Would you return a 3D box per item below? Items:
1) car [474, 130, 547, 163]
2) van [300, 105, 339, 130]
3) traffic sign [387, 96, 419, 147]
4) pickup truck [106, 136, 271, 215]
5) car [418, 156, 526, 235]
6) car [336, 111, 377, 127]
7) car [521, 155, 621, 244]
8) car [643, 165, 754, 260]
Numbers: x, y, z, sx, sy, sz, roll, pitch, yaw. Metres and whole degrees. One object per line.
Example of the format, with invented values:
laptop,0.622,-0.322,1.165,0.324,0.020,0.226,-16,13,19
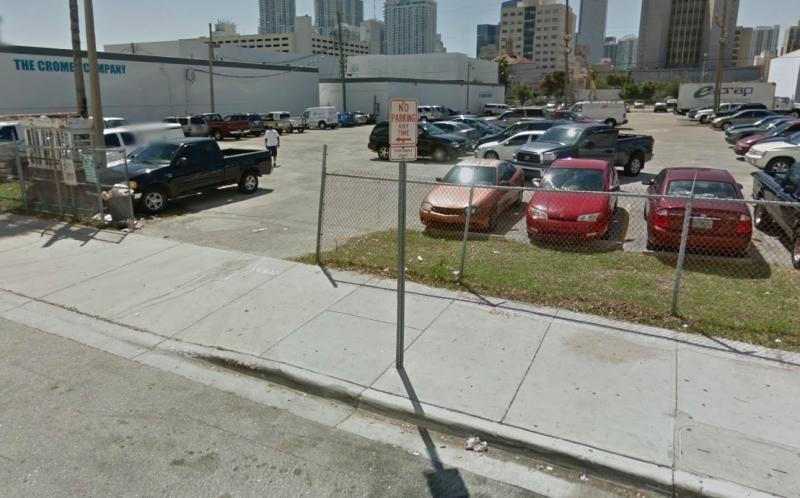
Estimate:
car,4.881,-4.641,23.893,3.691,1.090,1.575,3,22,12
van,-7.736,-12.343,49.069,3.289,1.480,2.142,10,30,13
traffic sign,0.047,-1.849,7.633,0.455,0.683,0.240,-7,22,-12
pickup truck,-6.931,-2.510,17.184,2.382,1.531,4.749,17,23,30
car,2.217,-1.795,15.052,2.042,1.309,4.470,9,25,26
car,-4.557,-13.337,53.503,2.437,0.867,3.548,16,28,34
car,4.834,-1.718,14.113,2.029,1.514,4.499,10,30,24
car,6.891,-0.752,11.982,2.063,1.614,2.791,8,22,26
